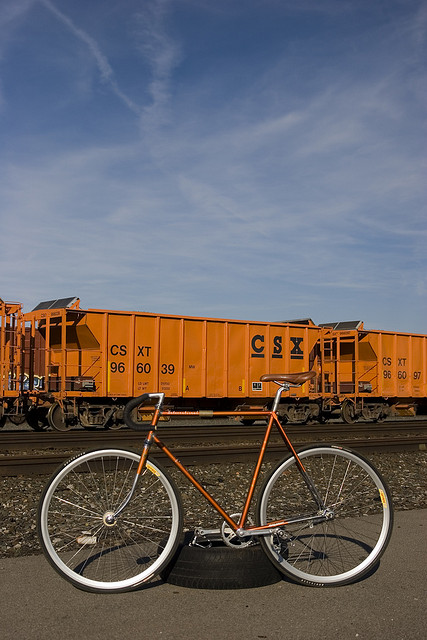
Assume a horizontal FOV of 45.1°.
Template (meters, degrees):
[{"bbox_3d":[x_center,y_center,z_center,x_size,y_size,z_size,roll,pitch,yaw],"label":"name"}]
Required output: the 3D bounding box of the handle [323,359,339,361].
[{"bbox_3d":[4.538,1.523,19.803,0.512,0.067,0.303,2,-4,5],"label":"handle"}]

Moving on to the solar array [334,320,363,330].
[{"bbox_3d":[5.377,0.194,20.213,0.658,0.318,1.185,5,-5,-31],"label":"solar array"}]

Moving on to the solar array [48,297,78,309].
[{"bbox_3d":[-3.997,-0.450,13.909,0.973,0.566,0.015,-10,-53,45],"label":"solar array"}]

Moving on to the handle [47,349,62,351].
[{"bbox_3d":[-4.826,0.903,15.702,0.443,0.052,0.100,1,-4,10],"label":"handle"}]

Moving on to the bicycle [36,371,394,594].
[{"bbox_3d":[0.036,0.985,3.082,2.093,1.141,0.500,1,-8,-4],"label":"bicycle"}]

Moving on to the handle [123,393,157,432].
[{"bbox_3d":[-0.434,0.530,2.947,0.172,0.235,0.406,4,-4,-17],"label":"handle"}]
